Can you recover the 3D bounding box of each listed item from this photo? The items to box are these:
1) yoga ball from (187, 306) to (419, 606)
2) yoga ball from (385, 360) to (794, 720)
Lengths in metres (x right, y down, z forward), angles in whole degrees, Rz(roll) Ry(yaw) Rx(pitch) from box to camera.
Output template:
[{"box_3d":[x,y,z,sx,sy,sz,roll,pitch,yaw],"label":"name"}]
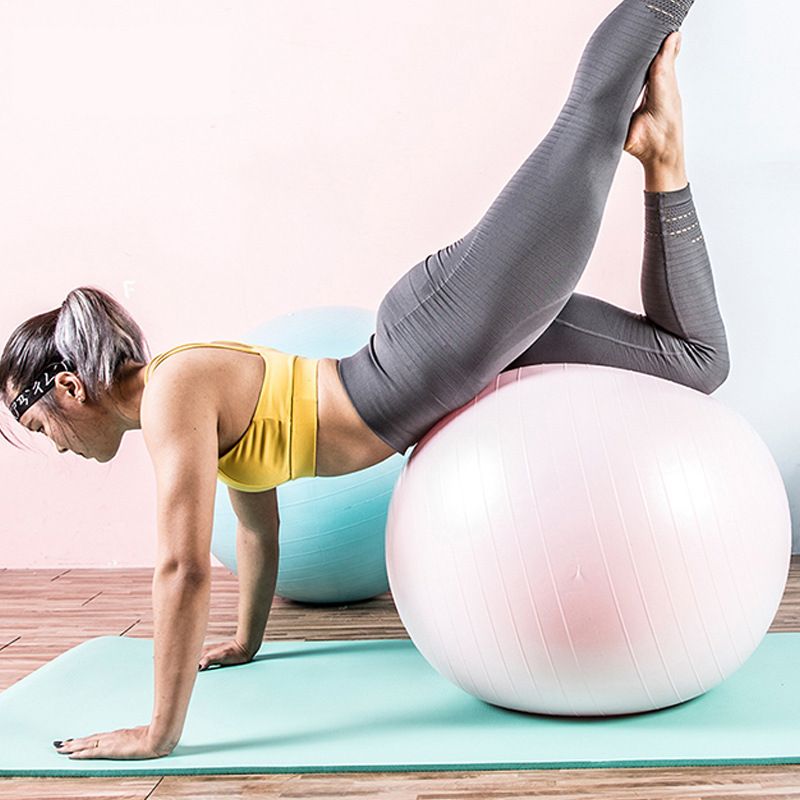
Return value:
[{"box_3d":[-0.416,0.150,2.567,0.871,0.758,0.749,-4,6,-2],"label":"yoga ball"},{"box_3d":[0.325,0.219,1.690,0.714,0.416,0.650,-2,-1,0],"label":"yoga ball"}]
